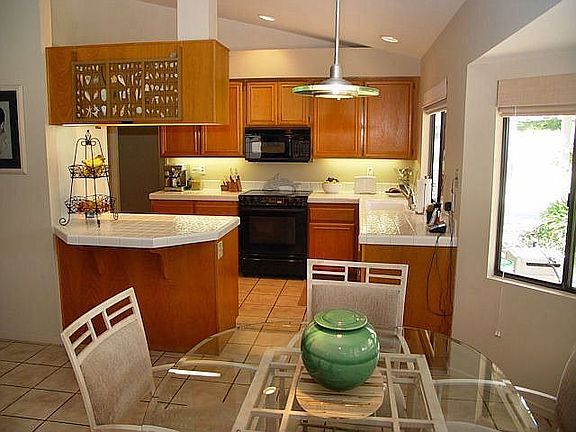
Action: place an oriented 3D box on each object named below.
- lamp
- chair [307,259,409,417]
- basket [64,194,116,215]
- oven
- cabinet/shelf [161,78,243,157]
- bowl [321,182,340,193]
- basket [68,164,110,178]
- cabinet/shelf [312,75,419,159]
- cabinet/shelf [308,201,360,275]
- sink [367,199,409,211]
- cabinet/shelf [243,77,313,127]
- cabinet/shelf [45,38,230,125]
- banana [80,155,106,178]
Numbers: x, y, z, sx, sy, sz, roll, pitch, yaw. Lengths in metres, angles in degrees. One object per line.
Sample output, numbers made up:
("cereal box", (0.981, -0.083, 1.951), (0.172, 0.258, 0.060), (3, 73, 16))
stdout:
("lamp", (0.346, -1.387, 3.562), (0.548, 0.956, 1.690), (-1, 9, 3))
("chair", (0.513, 0.663, 2.990), (0.637, 0.975, 0.684), (1, 2, 12))
("basket", (-1.848, -0.110, 4.135), (0.384, 0.176, 0.376), (2, 9, 17))
("oven", (-0.166, 0.194, 5.965), (0.859, 1.117, 0.834), (2, 10, 2))
("cabinet/shelf", (-0.874, -1.066, 4.744), (1.069, 0.987, 0.338), (1, 7, 7))
("bowl", (0.596, -0.382, 5.971), (0.162, 0.099, 0.161), (-1, 9, 0))
("basket", (-1.798, -0.393, 3.977), (0.184, 0.086, 0.254), (0, 5, -4))
("cabinet/shelf", (1.048, -1.314, 5.979), (1.370, 1.050, 0.480), (2, 17, 18))
("cabinet/shelf", (0.574, 0.238, 5.612), (0.746, 1.048, 0.696), (1, 3, 12))
("sink", (1.214, -0.136, 5.447), (0.269, 0.111, 0.221), (1, 17, 8))
("cabinet/shelf", (-0.118, -1.506, 6.064), (0.928, 0.617, 0.484), (0, 4, 1))
("cabinet/shelf", (-1.340, -1.132, 3.971), (1.528, 0.690, 0.516), (1, 3, 9))
("banana", (-1.774, -0.450, 4.000), (0.217, 0.196, 0.223), (4, 7, 29))
